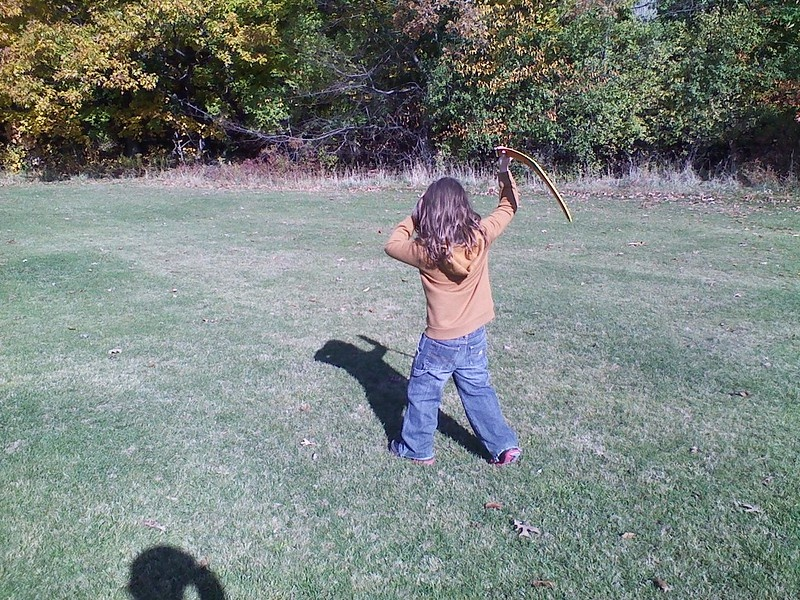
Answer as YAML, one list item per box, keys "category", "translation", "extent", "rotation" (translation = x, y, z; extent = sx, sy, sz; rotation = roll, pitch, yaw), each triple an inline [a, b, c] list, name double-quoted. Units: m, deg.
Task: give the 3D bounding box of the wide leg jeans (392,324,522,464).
- category: "wide leg jeans"
  translation: [0.380, 0.638, 3.876]
  extent: [0.929, 1.047, 0.539]
  rotation: [1, 20, 8]

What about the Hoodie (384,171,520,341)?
- category: "Hoodie"
  translation: [0.411, -0.413, 3.969]
  extent: [0.943, 1.304, 0.885]
  rotation: [-7, 4, 17]

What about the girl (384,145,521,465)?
- category: "girl"
  translation: [0.397, 0.109, 3.920]
  extent: [0.880, 2.221, 0.867]
  rotation: [-2, 15, -7]
